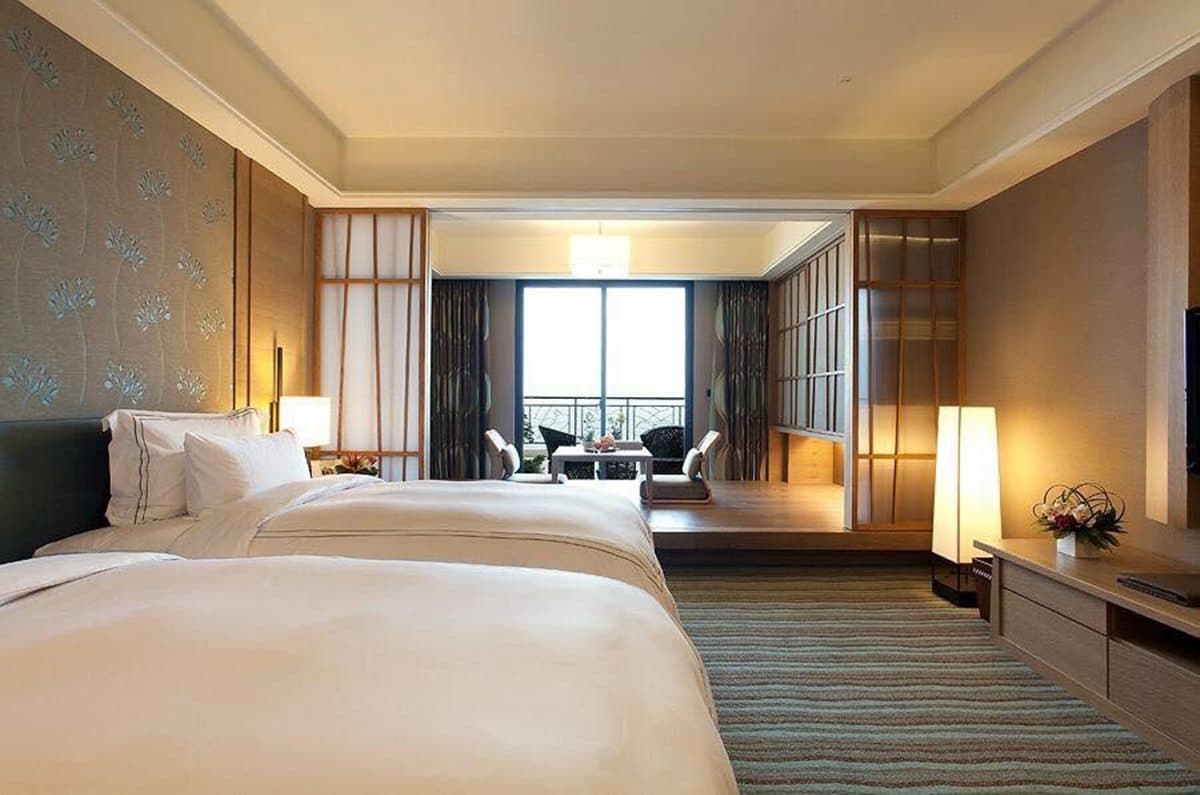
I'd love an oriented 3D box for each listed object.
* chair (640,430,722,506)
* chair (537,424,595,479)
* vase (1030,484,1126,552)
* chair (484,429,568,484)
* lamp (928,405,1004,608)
[{"bbox_3d":[0.765,0.779,7.679,0.626,0.564,0.831,1,-7,4],"label":"chair"},{"bbox_3d":[-0.398,0.672,9.597,0.599,0.875,0.554,-1,-2,9],"label":"chair"},{"bbox_3d":[2.772,0.675,4.576,0.405,0.292,0.416,-1,0,-3],"label":"vase"},{"bbox_3d":[-0.741,0.578,7.645,0.610,0.755,0.525,-1,-2,-1],"label":"chair"},{"bbox_3d":[2.459,0.745,5.410,0.422,1.352,0.861,5,13,24],"label":"lamp"}]
